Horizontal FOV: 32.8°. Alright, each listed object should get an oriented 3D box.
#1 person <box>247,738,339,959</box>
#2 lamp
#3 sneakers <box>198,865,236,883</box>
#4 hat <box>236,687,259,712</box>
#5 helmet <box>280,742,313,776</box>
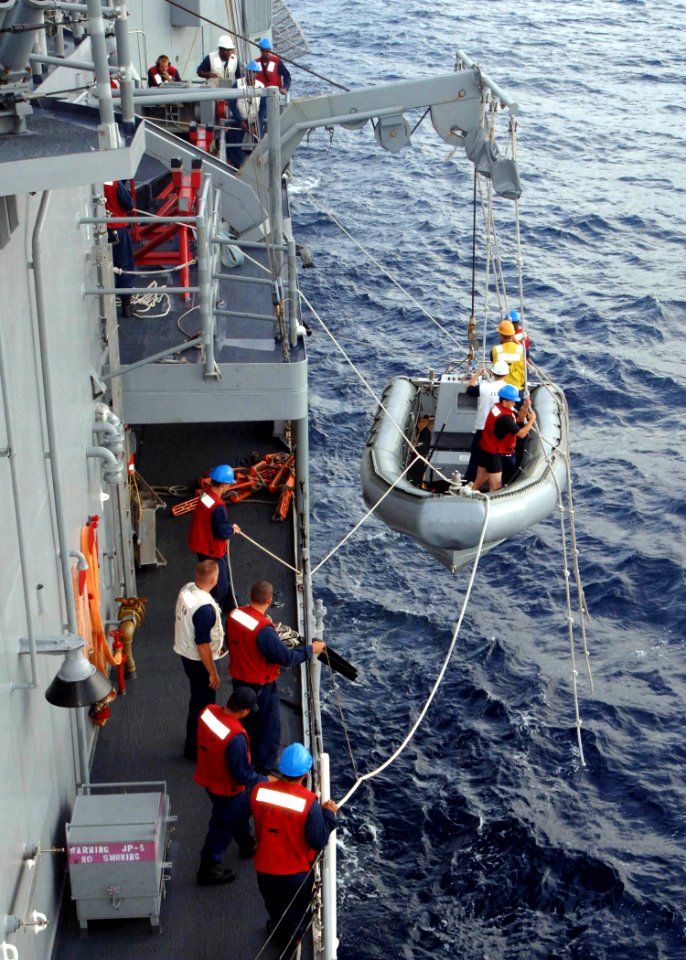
[{"bbox_3d":[-0.317,2.338,7.245,0.508,1.595,0.496,6,21,6],"label":"person"},{"bbox_3d":[-1.619,1.113,6.886,0.575,0.402,0.457,1,4,-1],"label":"lamp"},{"bbox_3d":[-0.872,2.717,8.041,0.290,0.128,0.103,-3,33,-10],"label":"sneakers"},{"bbox_3d":[-0.605,1.366,7.254,0.135,0.142,0.108,-2,21,-14],"label":"hat"},{"bbox_3d":[-0.283,1.695,7.018,0.176,0.229,0.228,4,20,3],"label":"helmet"}]
